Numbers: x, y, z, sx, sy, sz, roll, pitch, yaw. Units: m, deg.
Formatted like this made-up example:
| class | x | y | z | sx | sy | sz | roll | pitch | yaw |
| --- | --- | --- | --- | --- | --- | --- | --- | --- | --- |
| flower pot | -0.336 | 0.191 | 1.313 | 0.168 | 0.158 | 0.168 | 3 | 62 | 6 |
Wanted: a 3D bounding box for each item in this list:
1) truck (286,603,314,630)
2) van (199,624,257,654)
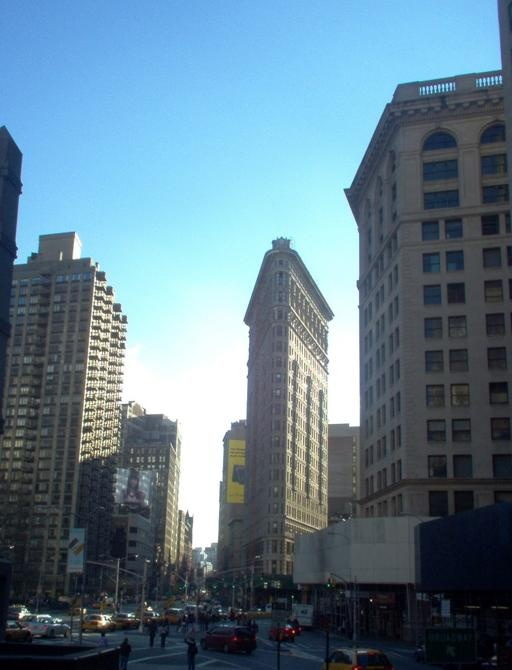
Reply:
| class | x | y | z | sx | sy | sz | roll | pitch | yaw |
| --- | --- | --- | --- | --- | --- | --- | --- | --- | --- |
| truck | 4.540 | 28.497 | 68.689 | 2.297 | 3.170 | 5.105 | 1 | -17 | 1 |
| van | -1.380 | 17.761 | 40.889 | 1.794 | 1.558 | 3.061 | 19 | -23 | -35 |
